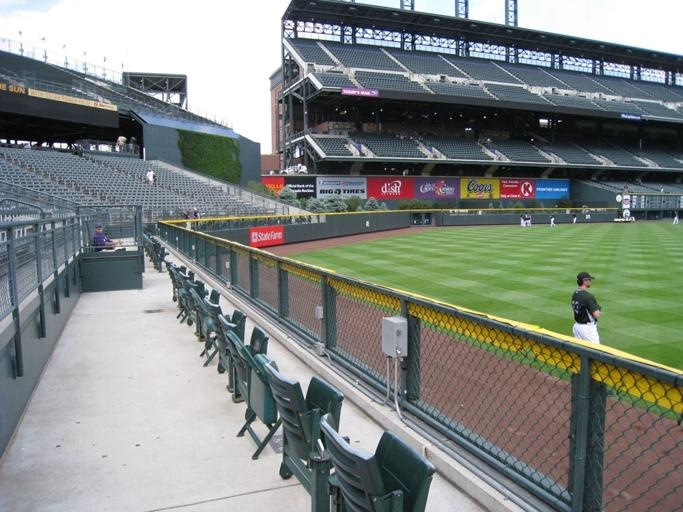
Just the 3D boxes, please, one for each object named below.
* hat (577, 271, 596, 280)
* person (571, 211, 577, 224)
[{"bbox_3d":[4.765,0.350,11.286,0.317,0.188,0.218,-9,11,-15],"label":"hat"},{"bbox_3d":[18.936,-3.202,47.063,0.434,0.756,1.835,6,10,21],"label":"person"}]
